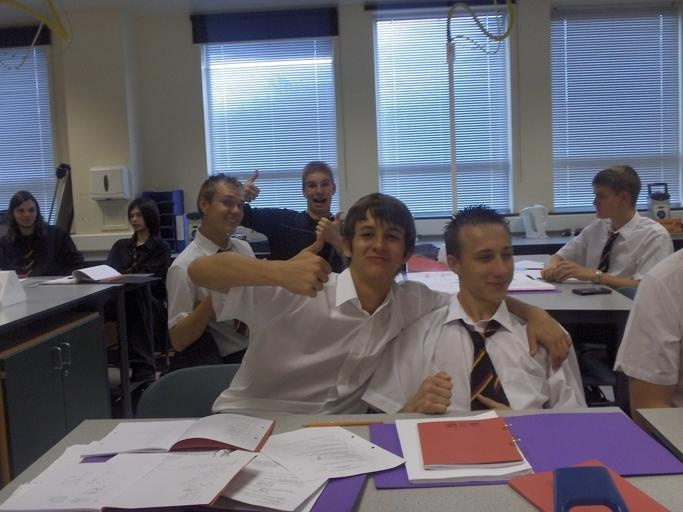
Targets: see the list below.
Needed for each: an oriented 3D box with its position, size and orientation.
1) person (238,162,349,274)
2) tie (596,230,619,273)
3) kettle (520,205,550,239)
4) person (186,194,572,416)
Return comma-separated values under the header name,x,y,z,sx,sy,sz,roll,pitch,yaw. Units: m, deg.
name,x,y,z,sx,sy,sz,roll,pitch,yaw
person,-0.317,-0.285,4.104,0.934,0.847,0.529,1,-3,-5
tie,1.795,-0.026,4.134,0.032,0.297,0.050,27,-6,-20
kettle,1.706,-0.311,5.440,0.287,0.301,0.243,0,10,3
person,-0.089,0.198,2.570,1.013,0.904,0.391,-5,9,-28
